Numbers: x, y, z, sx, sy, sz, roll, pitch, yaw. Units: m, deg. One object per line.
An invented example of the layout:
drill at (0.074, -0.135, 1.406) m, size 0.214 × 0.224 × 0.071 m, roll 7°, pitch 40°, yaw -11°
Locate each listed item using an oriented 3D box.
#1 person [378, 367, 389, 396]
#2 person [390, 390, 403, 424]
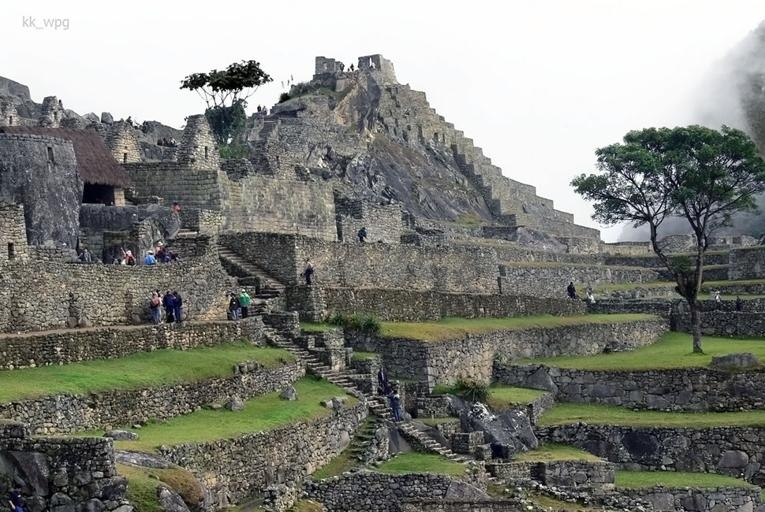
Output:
person at (0.072, 6.770, 70.309) m, size 0.587 × 1.336 × 0.849 m, roll -2°, pitch -3°, yaw -2°
person at (0.713, 7.946, 69.108) m, size 0.592 × 1.431 × 1.775 m, roll -2°, pitch -3°, yaw 0°
